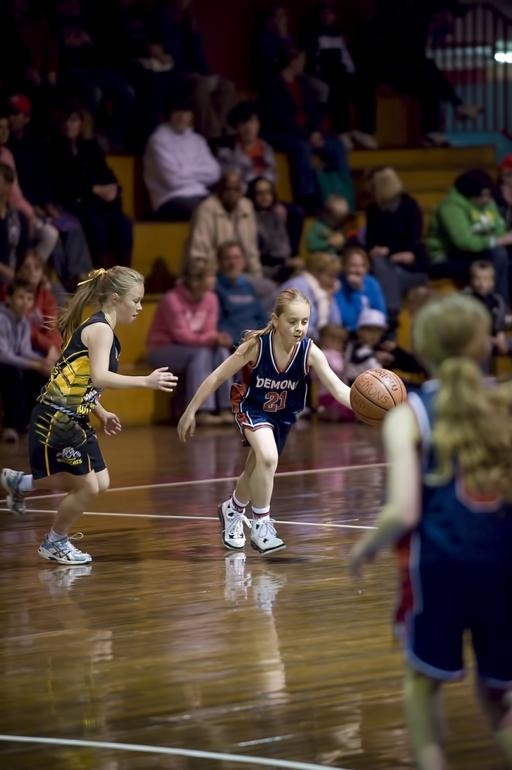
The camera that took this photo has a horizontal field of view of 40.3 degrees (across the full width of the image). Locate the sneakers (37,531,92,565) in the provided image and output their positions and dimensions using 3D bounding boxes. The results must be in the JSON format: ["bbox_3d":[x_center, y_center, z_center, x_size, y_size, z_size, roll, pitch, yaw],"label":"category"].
[{"bbox_3d":[-0.919,0.793,3.378,0.285,0.135,0.110,16,-2,-2],"label":"sneakers"}]

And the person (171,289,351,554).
[{"bbox_3d":[0.015,0.202,3.457,0.766,1.281,0.758,-1,-2,-6],"label":"person"}]

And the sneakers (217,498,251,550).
[{"bbox_3d":[-0.122,0.738,3.698,0.141,0.273,0.130,-2,-16,-33],"label":"sneakers"}]

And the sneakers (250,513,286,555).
[{"bbox_3d":[0.048,0.740,3.442,0.098,0.125,0.266,-5,2,-24],"label":"sneakers"}]

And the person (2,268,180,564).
[{"bbox_3d":[-0.767,0.152,3.296,0.478,1.386,1.212,0,-3,-43],"label":"person"}]

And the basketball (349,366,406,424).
[{"bbox_3d":[0.463,0.046,2.958,0.237,0.239,0.222,-4,-1,-14],"label":"basketball"}]
